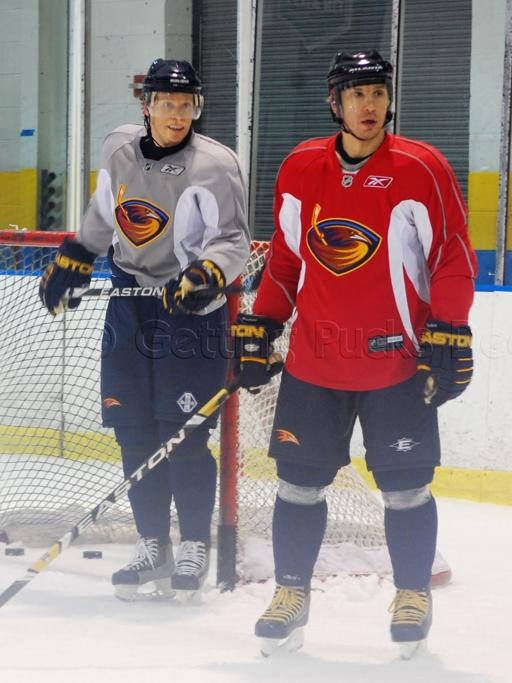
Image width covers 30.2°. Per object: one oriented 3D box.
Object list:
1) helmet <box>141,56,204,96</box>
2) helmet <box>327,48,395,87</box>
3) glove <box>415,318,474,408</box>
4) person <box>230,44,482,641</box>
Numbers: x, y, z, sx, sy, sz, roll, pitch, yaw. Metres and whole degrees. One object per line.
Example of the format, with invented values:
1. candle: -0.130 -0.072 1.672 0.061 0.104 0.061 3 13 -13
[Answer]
1. helmet: -0.214 -0.704 2.521 0.117 0.099 0.120 -1 26 -9
2. helmet: 0.247 -0.654 2.239 0.107 0.097 0.117 -3 21 2
3. glove: 0.441 0.054 2.217 0.122 0.197 0.067 3 7 9
4. person: 0.230 0.043 2.345 0.575 1.471 0.346 1 7 -2
